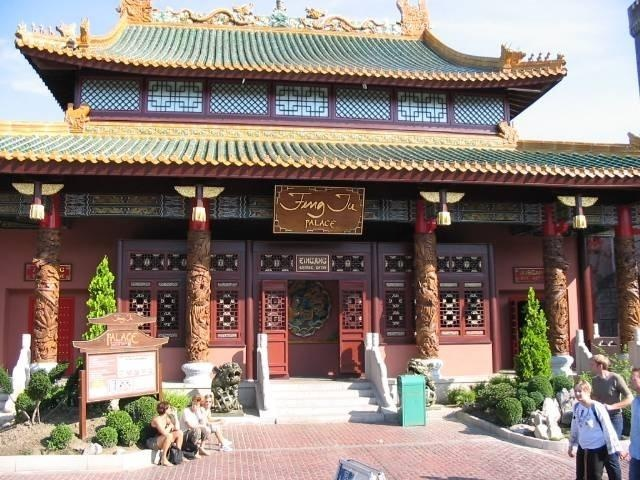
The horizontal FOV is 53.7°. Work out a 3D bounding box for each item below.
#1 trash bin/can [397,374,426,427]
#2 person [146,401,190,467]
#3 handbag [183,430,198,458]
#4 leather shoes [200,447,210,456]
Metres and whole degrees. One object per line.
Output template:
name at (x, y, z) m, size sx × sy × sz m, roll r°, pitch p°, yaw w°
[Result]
trash bin/can at (2.149, 3.697, 14.594) m, size 0.654 × 1.068 × 0.714 m, roll 2°, pitch 11°, yaw 7°
person at (-3.054, 3.786, 12.449) m, size 0.672 × 1.111 × 0.892 m, roll -5°, pitch 12°, yaw -27°
handbag at (-2.581, 4.070, 12.522) m, size 0.299 × 0.499 × 0.151 m, roll -1°, pitch -1°, yaw 2°
leather shoes at (-2.260, 4.250, 12.607) m, size 0.257 × 0.190 × 0.091 m, roll 3°, pitch 0°, yaw -3°
